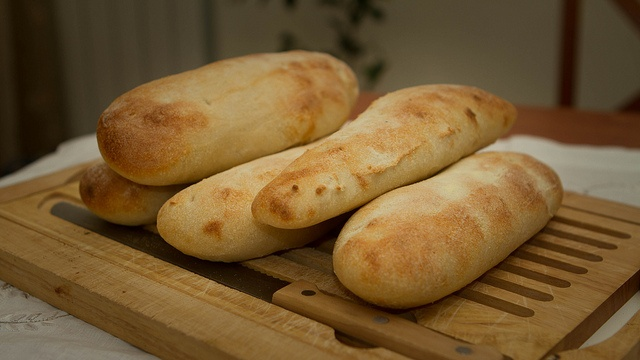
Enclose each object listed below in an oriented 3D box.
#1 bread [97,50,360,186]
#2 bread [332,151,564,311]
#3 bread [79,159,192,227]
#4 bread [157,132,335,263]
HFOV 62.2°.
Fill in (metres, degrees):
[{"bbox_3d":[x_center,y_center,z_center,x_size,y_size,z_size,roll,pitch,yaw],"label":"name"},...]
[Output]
[{"bbox_3d":[-0.210,-0.152,1.229,0.642,0.196,0.277,-14,32,-18],"label":"bread"},{"bbox_3d":[0.286,0.135,1.143,0.513,0.145,0.231,-20,45,-24],"label":"bread"},{"bbox_3d":[-0.444,0.018,1.253,0.201,0.093,0.147,-6,24,-39],"label":"bread"},{"bbox_3d":[-0.128,0.032,1.161,0.409,0.112,0.197,-15,40,-32],"label":"bread"}]
